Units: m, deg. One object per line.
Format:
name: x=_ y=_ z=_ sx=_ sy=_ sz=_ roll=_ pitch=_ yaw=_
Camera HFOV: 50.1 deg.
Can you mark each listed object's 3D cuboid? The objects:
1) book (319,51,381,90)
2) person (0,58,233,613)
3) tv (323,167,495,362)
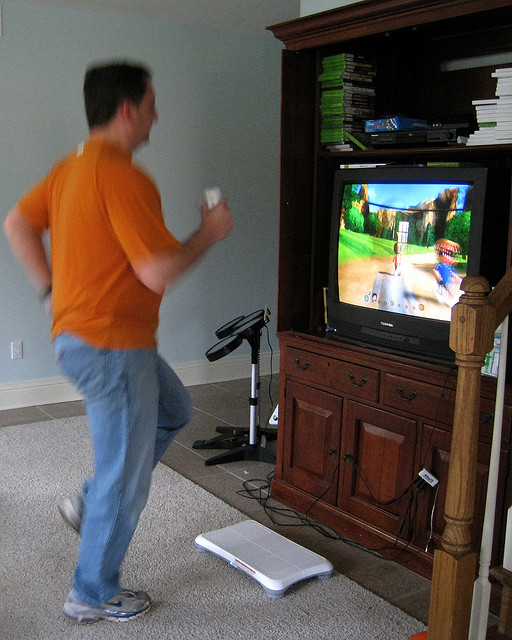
book: x=0.394 y=-1.054 z=2.362 sx=0.173 sy=0.072 sz=0.218 roll=-5 pitch=18 yaw=-3
person: x=-0.404 y=0.088 z=1.505 sx=0.590 sy=1.529 sz=0.307 roll=4 pitch=7 yaw=31
tv: x=0.528 y=-0.200 z=1.874 sx=0.398 sy=0.702 sz=0.650 roll=-8 pitch=18 yaw=-35
